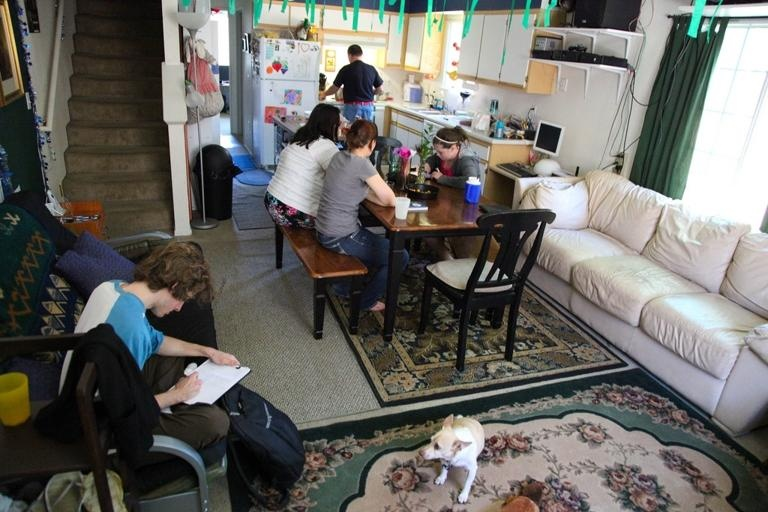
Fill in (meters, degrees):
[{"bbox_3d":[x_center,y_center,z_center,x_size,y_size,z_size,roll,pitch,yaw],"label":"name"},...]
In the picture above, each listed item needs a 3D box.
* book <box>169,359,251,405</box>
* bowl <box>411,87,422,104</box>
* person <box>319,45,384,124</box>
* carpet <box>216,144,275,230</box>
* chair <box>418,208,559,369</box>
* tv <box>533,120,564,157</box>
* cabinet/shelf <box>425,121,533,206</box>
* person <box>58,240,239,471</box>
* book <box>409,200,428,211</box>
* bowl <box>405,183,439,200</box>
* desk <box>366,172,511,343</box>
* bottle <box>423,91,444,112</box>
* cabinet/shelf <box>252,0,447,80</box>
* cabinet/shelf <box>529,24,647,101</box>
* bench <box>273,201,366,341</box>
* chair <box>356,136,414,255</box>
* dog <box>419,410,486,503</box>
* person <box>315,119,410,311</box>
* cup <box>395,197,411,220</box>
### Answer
[{"bbox_3d":[-0.938,0.688,2.858,0.237,0.056,0.233,-22,43,-38],"label":"book"},{"bbox_3d":[0.532,-2.664,8.621,0.242,0.281,0.245,1,16,0],"label":"bowl"},{"bbox_3d":[-0.421,-2.142,7.455,0.908,1.604,0.544,-14,34,-23],"label":"person"},{"bbox_3d":[-1.664,-0.803,6.273,0.873,0.335,1.367,-7,33,-24],"label":"carpet"},{"bbox_3d":[0.740,0.171,3.948,0.739,1.209,0.599,-11,26,-28],"label":"chair"},{"bbox_3d":[1.893,-1.336,5.932,0.043,0.390,0.351,-16,30,-41],"label":"tv"},{"bbox_3d":[1.003,-0.917,5.304,0.533,0.697,0.974,-11,32,-19],"label":"cabinet/shelf"},{"bbox_3d":[-1.208,0.579,2.748,0.830,1.206,0.791,12,4,-16],"label":"person"},{"bbox_3d":[0.273,-0.388,4.104,0.098,0.025,0.106,-6,21,-23],"label":"book"},{"bbox_3d":[0.328,-0.535,4.319,0.172,0.061,0.181,2,32,-1],"label":"bowl"},{"bbox_3d":[0.317,0.083,4.475,1.010,1.008,1.313,-8,32,-16],"label":"desk"},{"bbox_3d":[0.786,-2.430,8.184,0.244,0.173,0.420,-7,27,-14],"label":"bottle"},{"bbox_3d":[-0.501,-3.114,7.418,2.399,0.940,1.663,-8,35,-19],"label":"cabinet/shelf"},{"bbox_3d":[2.048,-2.029,5.455,0.566,0.685,1.051,-8,25,-23],"label":"cabinet/shelf"},{"bbox_3d":[-0.505,0.134,4.193,0.327,0.461,0.993,-9,32,-24],"label":"bench"},{"bbox_3d":[-0.025,-0.630,3.980,0.316,0.577,0.534,-13,27,-32],"label":"chair"},{"bbox_3d":[0.423,1.157,3.061,0.270,0.508,0.454,13,25,24],"label":"dog"},{"bbox_3d":[-0.165,-0.267,4.291,0.771,1.528,0.741,-8,17,-27],"label":"person"},{"bbox_3d":[0.131,-0.372,3.933,0.098,0.158,0.190,1,23,-2],"label":"cup"}]
